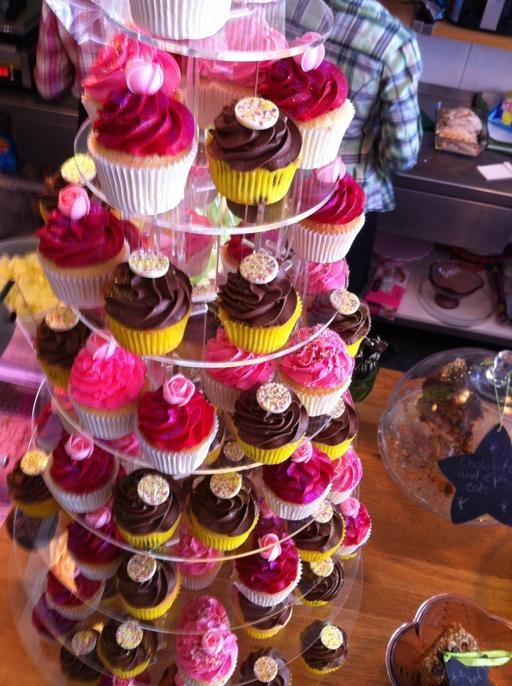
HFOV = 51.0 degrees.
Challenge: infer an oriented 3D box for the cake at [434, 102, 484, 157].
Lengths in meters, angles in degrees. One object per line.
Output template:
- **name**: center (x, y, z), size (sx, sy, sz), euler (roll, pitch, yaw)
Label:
- **cake**: center (0.915, -0.951, 2.421), size (0.225, 0.095, 0.288), euler (12, 48, 3)

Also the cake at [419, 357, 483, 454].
- **cake**: center (0.490, 0.163, 1.352), size (0.148, 0.065, 0.199), euler (-3, 61, 13)
